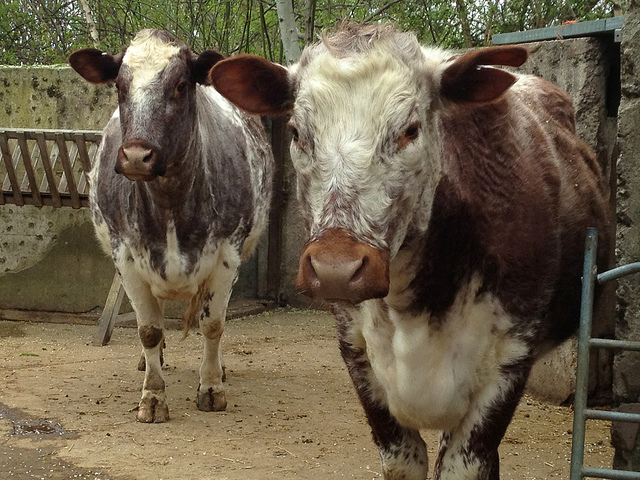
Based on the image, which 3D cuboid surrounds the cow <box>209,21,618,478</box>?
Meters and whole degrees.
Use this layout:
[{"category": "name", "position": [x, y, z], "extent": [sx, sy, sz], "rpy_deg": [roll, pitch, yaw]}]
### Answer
[{"category": "cow", "position": [0.685, 0.092, 5.285], "extent": [2.167, 2.620, 0.941], "rpy_deg": [-4, 8, -32]}]
